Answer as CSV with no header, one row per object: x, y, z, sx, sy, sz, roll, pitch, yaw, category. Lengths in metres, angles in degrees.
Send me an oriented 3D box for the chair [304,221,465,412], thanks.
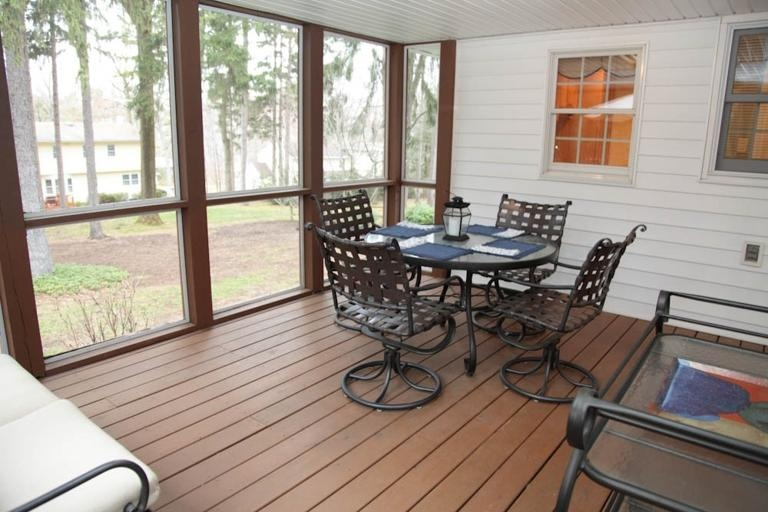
0.052,0.416,3.657,0.881,1.370,0.702,12,21,39,chair

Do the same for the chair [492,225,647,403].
1.475,0.392,3.908,1.123,1.306,0.939,3,8,19,chair

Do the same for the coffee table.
0.693,0.349,4.116,1.298,0.794,1.246,-28,17,-38,coffee table
